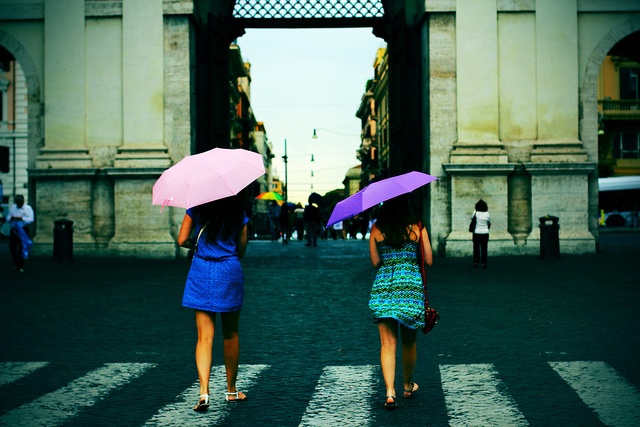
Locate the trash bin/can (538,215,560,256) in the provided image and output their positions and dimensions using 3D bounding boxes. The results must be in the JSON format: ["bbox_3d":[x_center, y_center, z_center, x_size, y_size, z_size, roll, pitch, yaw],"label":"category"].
[{"bbox_3d":[6.799,0.704,32.274,0.576,1.240,0.534,1,15,12],"label":"trash bin/can"}]

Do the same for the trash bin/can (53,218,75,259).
[{"bbox_3d":[-7.669,0.780,32.255,0.612,1.238,0.459,-4,15,-9],"label":"trash bin/can"}]

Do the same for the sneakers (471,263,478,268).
[{"bbox_3d":[4.344,1.454,30.566,0.151,0.122,0.335,0,15,5],"label":"sneakers"}]

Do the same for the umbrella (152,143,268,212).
[{"bbox_3d":[-2.190,-0.663,21.533,2.213,0.885,2.339,-5,19,32],"label":"umbrella"}]

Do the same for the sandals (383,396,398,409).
[{"bbox_3d":[1.339,3.634,20.838,0.184,0.172,0.392,-1,-11,1],"label":"sandals"}]

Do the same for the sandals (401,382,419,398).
[{"bbox_3d":[1.755,3.452,21.174,0.163,0.161,0.379,3,18,24],"label":"sandals"}]

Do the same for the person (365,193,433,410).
[{"bbox_3d":[1.457,1.606,21.095,1.311,3.870,1.041,-15,20,-42],"label":"person"}]

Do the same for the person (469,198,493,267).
[{"bbox_3d":[4.503,0.584,30.883,0.547,1.842,1.482,0,15,8],"label":"person"}]

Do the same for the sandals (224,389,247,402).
[{"bbox_3d":[-1.657,3.548,21.112,0.326,0.139,0.188,-2,3,-30],"label":"sandals"}]
